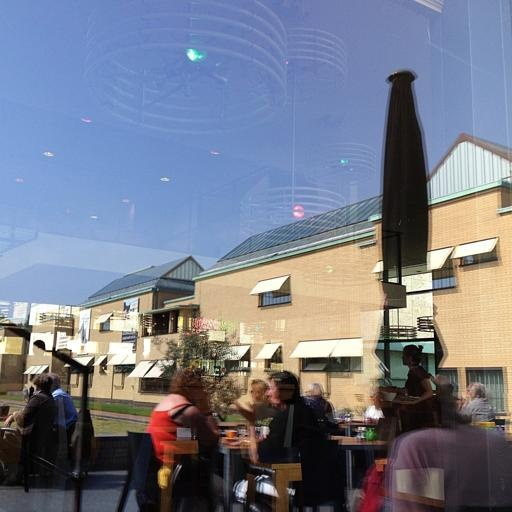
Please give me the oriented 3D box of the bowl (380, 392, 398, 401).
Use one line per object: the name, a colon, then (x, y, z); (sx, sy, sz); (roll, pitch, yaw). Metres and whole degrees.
bowl: (0.975, 1.029, 3.951); (0.112, 0.048, 0.132); (-3, -28, 0)
